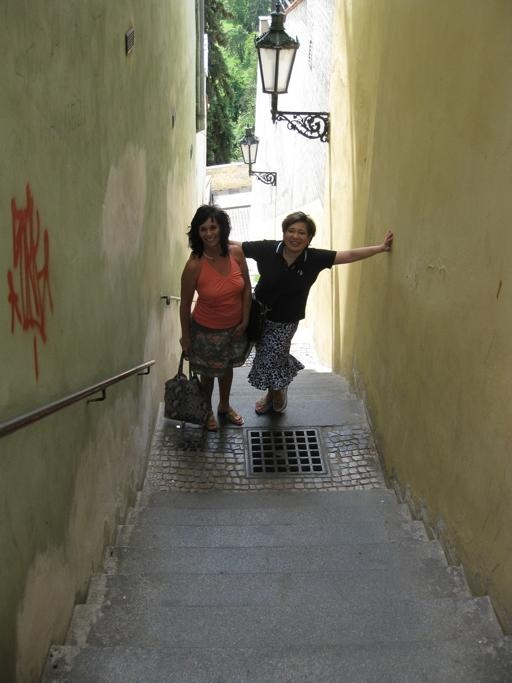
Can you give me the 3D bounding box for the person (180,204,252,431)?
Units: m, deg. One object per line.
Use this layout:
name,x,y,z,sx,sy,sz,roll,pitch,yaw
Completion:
person,-0.278,-0.164,3.391,0.401,1.739,0.379,-5,38,-9

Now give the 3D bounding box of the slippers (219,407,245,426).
slippers,-0.198,0.586,3.842,0.084,0.144,0.275,-5,-1,-30

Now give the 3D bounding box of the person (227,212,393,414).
person,0.188,-0.220,3.568,1.147,1.744,0.493,14,49,4

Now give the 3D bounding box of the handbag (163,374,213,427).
handbag,-0.541,0.418,3.582,0.291,0.177,0.524,5,56,-11
